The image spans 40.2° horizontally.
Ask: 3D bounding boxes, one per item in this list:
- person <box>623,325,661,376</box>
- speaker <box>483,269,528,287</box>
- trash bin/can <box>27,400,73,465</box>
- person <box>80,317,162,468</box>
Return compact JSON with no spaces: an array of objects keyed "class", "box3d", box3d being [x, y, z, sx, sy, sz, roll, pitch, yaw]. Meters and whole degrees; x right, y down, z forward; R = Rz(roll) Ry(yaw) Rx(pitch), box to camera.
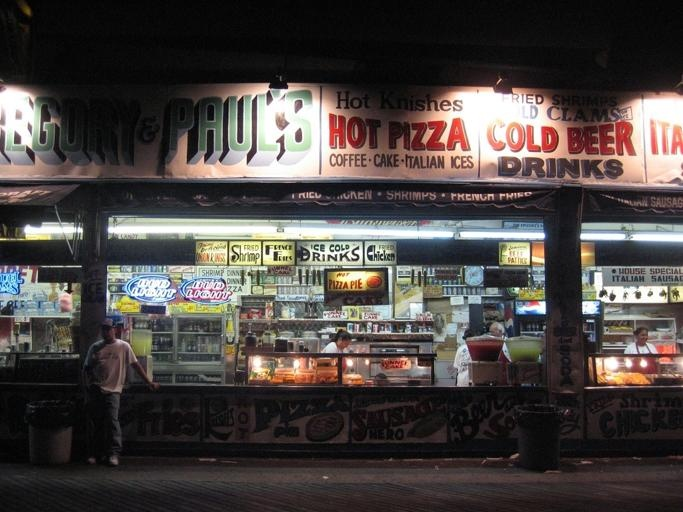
[{"class":"person","box3d":[5.785,1.826,18.060,0.713,1.345,0.474,0,-11,0]},{"class":"speaker","box3d":[3.138,0.391,17.824,0.816,0.356,0.280,-2,-5,3]},{"class":"trash bin/can","box3d":[-4.809,2.931,15.728,0.803,1.003,0.706,0,-8,0]},{"class":"person","box3d":[-3.837,2.235,15.578,0.891,2.405,0.349,-1,-5,-12]}]
